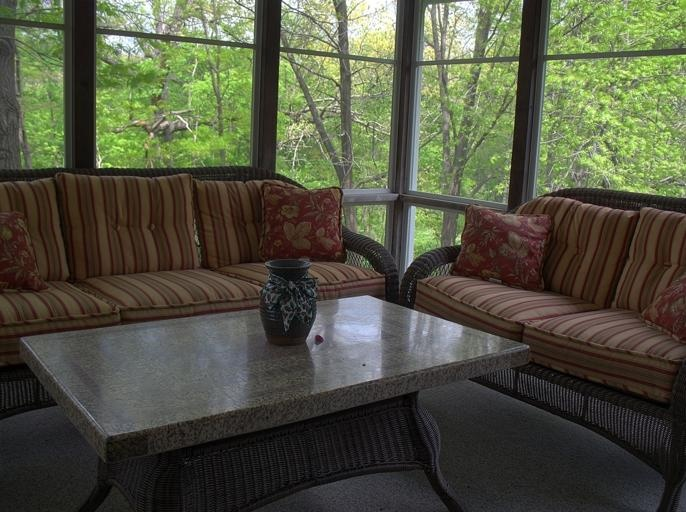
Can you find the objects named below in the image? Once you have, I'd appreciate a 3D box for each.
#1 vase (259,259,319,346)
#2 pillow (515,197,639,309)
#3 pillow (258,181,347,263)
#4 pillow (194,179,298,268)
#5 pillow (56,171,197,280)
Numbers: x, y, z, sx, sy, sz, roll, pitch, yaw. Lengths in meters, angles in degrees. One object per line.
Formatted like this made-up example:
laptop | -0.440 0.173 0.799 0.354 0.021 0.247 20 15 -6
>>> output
vase | -0.205 0.172 1.953 0.206 0.246 0.205 -6 8 -41
pillow | 1.397 -0.030 3.138 0.226 0.560 0.646 19 -1 -40
pillow | -0.274 -0.204 3.479 0.638 0.528 0.216 -1 -10 -12
pillow | -0.672 -0.225 3.427 0.633 0.505 0.176 -9 1 -37
pillow | -1.274 -0.159 3.121 0.666 0.459 0.210 -12 14 -34
